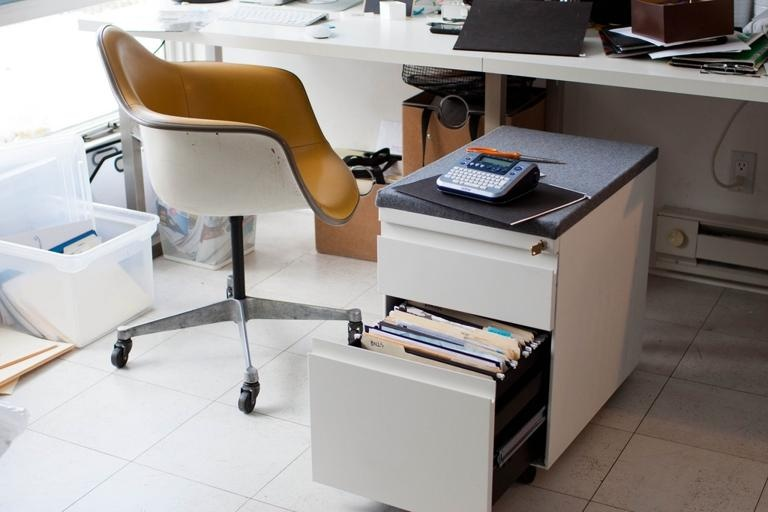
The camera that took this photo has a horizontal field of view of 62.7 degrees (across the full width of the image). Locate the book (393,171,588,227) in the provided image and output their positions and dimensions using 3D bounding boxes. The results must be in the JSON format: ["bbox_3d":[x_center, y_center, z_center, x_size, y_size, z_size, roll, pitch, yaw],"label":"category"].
[{"bbox_3d":[0.285,-0.159,1.705,0.472,0.043,0.230,15,34,27],"label":"book"}]

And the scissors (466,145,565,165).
[{"bbox_3d":[0.379,-0.291,1.824,0.320,0.034,0.044,7,24,-7],"label":"scissors"}]

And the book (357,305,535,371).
[{"bbox_3d":[0.179,0.216,1.645,0.265,0.059,0.194,15,30,20],"label":"book"}]

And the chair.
[{"bbox_3d":[-0.591,-0.204,2.401,1.002,1.150,1.019,-3,24,-15],"label":"chair"}]
